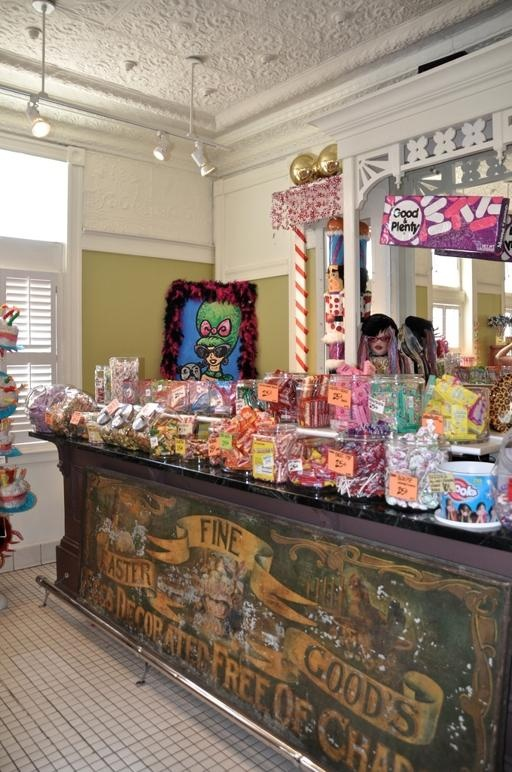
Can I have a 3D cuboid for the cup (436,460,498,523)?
[{"bbox_3d":[0.433,0.223,1.165,0.111,0.129,0.120,0,-9,0],"label":"cup"}]
